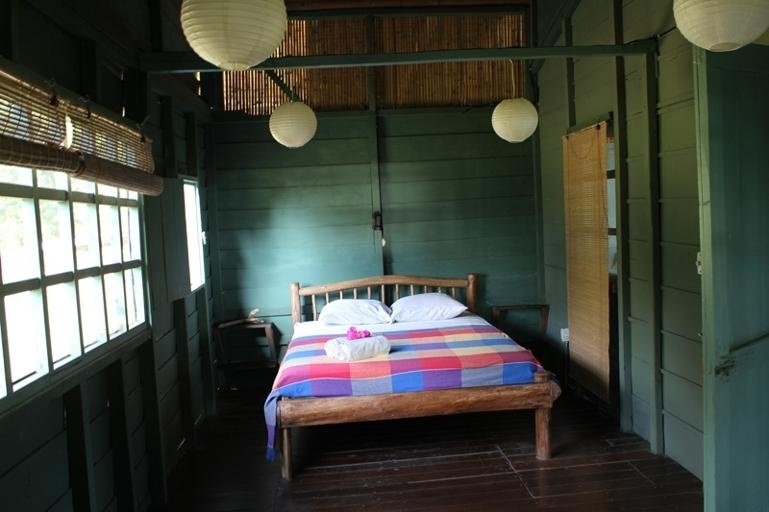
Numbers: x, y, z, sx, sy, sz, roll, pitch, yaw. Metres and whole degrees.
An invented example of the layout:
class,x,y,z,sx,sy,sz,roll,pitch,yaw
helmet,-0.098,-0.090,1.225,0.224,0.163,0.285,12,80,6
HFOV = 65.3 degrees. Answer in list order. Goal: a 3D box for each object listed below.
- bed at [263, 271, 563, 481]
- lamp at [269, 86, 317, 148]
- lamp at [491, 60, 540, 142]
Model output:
class,x,y,z,sx,sy,sz,roll,pitch,yaw
bed,0.194,0.986,5.379,2.273,0.884,1.826,-3,14,-3
lamp,-0.750,-1.184,5.164,0.429,0.588,0.428,-2,5,-6
lamp,1.094,-1.360,5.024,0.386,0.826,0.390,5,10,36
